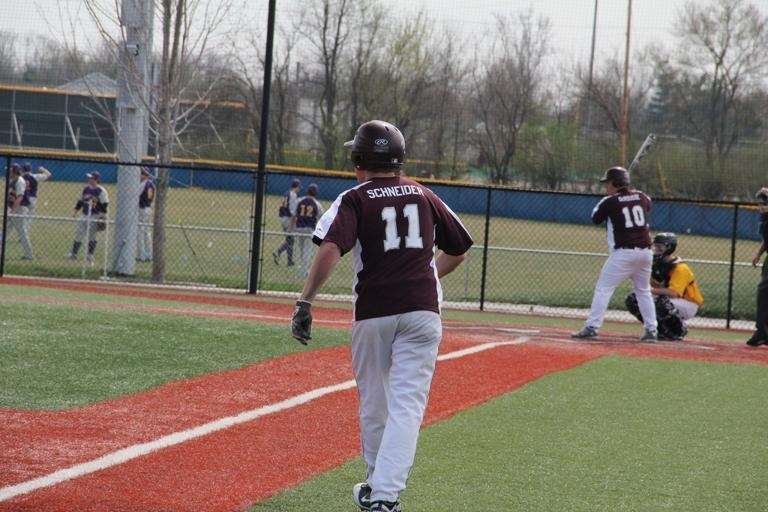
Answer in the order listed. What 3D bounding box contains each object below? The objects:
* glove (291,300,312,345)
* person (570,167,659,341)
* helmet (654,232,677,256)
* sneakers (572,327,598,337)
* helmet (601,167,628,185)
[{"bbox_3d":[-0.965,0.772,11.745,0.215,0.570,0.270,2,14,-8],"label":"glove"},{"bbox_3d":[4.018,-0.006,16.902,1.329,2.857,0.796,4,13,-1],"label":"person"},{"bbox_3d":[4.906,-0.210,17.500,0.386,0.361,0.362,5,2,11],"label":"helmet"},{"bbox_3d":[3.400,1.266,16.940,0.457,0.203,0.169,1,4,15],"label":"sneakers"},{"bbox_3d":[3.881,-1.330,16.908,0.296,0.209,0.396,1,8,-16],"label":"helmet"}]
